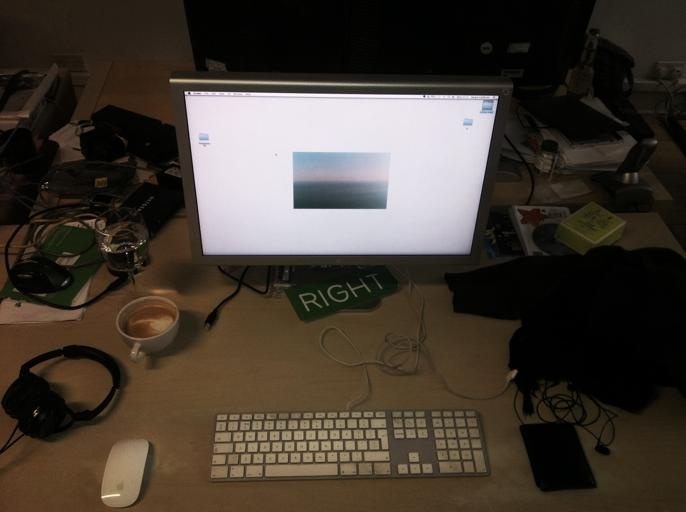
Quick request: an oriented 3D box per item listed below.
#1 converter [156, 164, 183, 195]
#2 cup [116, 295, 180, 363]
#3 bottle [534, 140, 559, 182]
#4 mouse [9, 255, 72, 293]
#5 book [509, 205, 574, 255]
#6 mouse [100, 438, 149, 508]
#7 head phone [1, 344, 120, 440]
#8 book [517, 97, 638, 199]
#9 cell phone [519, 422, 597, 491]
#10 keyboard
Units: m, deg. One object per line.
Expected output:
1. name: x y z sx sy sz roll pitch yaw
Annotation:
1. converter: -0.521 -0.244 1.755 0.104 0.064 0.106 -4 56 -13
2. cup: -0.492 0.198 1.410 0.139 0.088 0.177 15 41 6
3. bottle: 0.657 -0.307 1.818 0.113 0.106 0.076 7 67 7
4. mouse: -0.818 0.045 1.501 0.157 0.054 0.111 7 27 -27
5. book: 0.575 -0.078 1.630 0.143 0.035 0.157 -1 51 4
6. mouse: -0.474 0.471 1.194 0.082 0.029 0.123 1 60 -1
7. head phone: -0.661 0.348 1.324 0.196 0.096 0.227 34 35 7
8. book: 0.755 -0.403 1.840 0.300 0.091 0.226 8 64 15
9. cell phone: 0.486 0.459 1.273 0.133 0.010 0.154 -5 54 -4
10. keyboard: -0.008 0.527 1.496 0.527 0.029 0.141 1 65 -4
